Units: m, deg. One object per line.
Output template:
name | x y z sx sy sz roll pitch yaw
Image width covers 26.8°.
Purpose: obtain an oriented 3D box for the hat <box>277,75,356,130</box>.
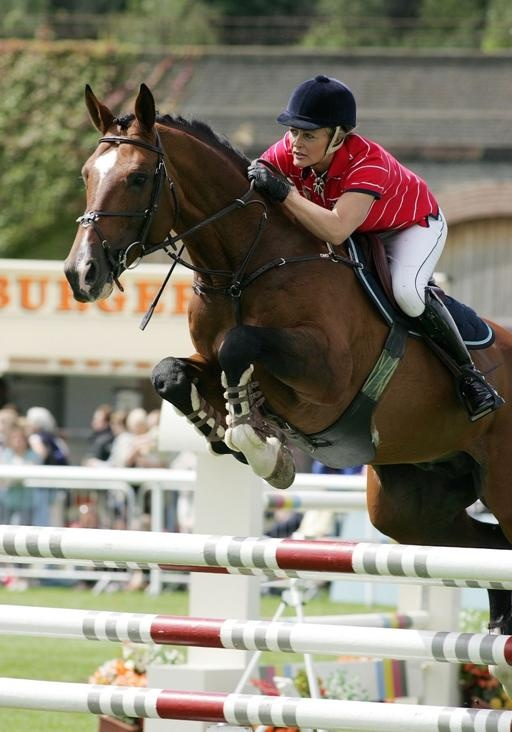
hat | 0.196 -0.853 3.448 0.266 0.143 0.194 -25 43 -38
